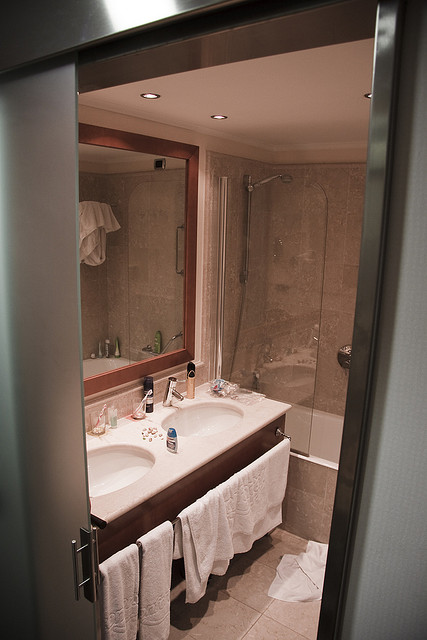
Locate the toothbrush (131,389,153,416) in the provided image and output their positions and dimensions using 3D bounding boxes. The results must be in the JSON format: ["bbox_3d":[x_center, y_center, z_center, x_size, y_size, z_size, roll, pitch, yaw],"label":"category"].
[{"bbox_3d":[-0.321,0.375,2.279,0.041,0.032,0.181,2,47,55],"label":"toothbrush"}]

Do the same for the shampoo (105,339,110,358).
[{"bbox_3d":[-0.466,0.121,2.150,0.026,0.076,0.019,-5,16,-43],"label":"shampoo"}]

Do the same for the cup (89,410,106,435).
[{"bbox_3d":[-0.489,0.425,2.064,0.070,0.087,0.132,4,13,-13],"label":"cup"}]

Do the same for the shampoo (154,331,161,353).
[{"bbox_3d":[-0.275,0.111,2.416,0.015,0.101,0.050,11,12,22],"label":"shampoo"}]

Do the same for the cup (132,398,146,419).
[{"bbox_3d":[-0.348,0.410,2.278,0.071,0.087,0.074,0,9,0],"label":"cup"}]

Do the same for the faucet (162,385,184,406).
[{"bbox_3d":[-0.195,0.368,2.424,0.107,0.104,0.063,2,13,-22],"label":"faucet"}]
